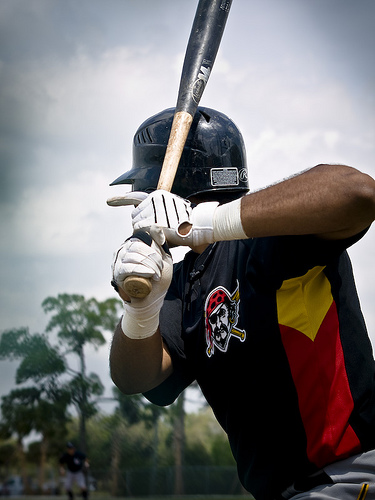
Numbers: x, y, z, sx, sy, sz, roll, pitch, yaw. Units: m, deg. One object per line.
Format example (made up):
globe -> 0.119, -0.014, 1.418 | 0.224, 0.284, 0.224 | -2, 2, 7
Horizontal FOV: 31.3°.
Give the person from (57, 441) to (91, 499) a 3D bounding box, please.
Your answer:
person -> -2.140, 4.214, 12.638 | 0.539, 1.182, 1.156 | -1, -4, -9
